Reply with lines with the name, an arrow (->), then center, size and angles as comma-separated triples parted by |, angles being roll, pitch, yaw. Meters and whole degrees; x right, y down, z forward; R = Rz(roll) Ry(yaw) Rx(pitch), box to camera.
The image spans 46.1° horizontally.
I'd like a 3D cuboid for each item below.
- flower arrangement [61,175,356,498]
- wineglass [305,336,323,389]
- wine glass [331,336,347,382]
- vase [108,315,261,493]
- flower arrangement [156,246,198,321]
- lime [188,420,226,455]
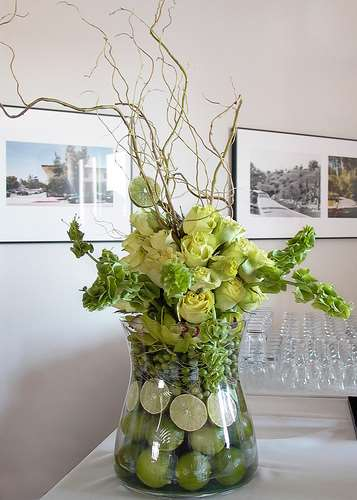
flower arrangement -> 0.021, 0.158, 0.666 | 0.232, 0.522, 0.312 | -3, 10, -38
wineglass -> 0.398, 0.334, 1.280 | 0.044, 0.115, 0.068 | 1, 9, 13
wine glass -> 0.471, 0.328, 1.241 | 0.042, 0.105, 0.039 | 9, -18, -37
vase -> 0.008, 0.224, 0.708 | 0.265, 0.267, 0.249 | 0, -7, 0
flower arrangement -> -0.004, 0.048, 0.567 | 0.056, 0.108, 0.108 | 2, -1, -3
lime -> 0.036, 0.261, 0.612 | 0.068, 0.041, 0.041 | 13, 3, -34
